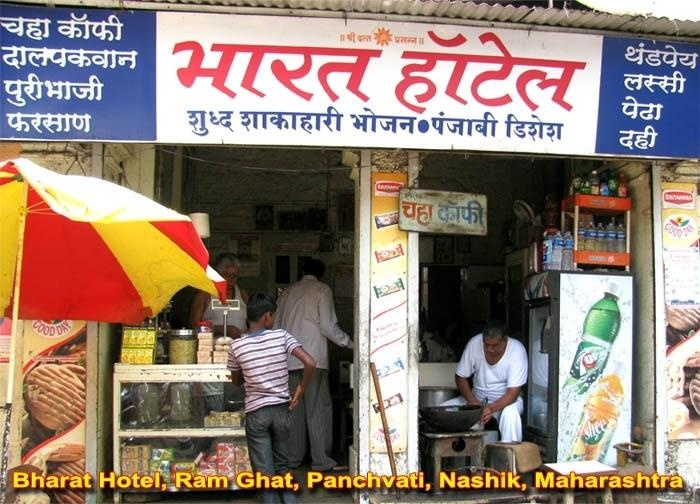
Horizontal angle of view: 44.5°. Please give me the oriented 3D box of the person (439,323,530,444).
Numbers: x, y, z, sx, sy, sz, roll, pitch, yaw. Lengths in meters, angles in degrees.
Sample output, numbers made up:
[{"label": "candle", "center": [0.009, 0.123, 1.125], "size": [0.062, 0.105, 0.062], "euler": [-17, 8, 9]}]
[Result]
[{"label": "person", "center": [1.423, 1.305, 8.961], "size": [0.615, 1.349, 0.750], "euler": [-1, -3, 19]}]

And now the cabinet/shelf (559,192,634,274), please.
[{"label": "cabinet/shelf", "center": [2.574, -0.266, 8.973], "size": [0.548, 0.865, 0.593], "euler": [6, 3, -9]}]

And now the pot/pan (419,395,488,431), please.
[{"label": "pot/pan", "center": [1.023, 1.628, 8.483], "size": [0.584, 0.226, 0.749], "euler": [-1, -2, 24]}]

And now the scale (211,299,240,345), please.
[{"label": "scale", "center": [-1.296, 0.707, 8.725], "size": [0.420, 0.562, 0.199], "euler": [0, -15, -7]}]

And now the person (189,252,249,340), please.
[{"label": "person", "center": [-1.356, 0.492, 8.949], "size": [0.506, 0.929, 0.484], "euler": [4, 1, -16]}]
